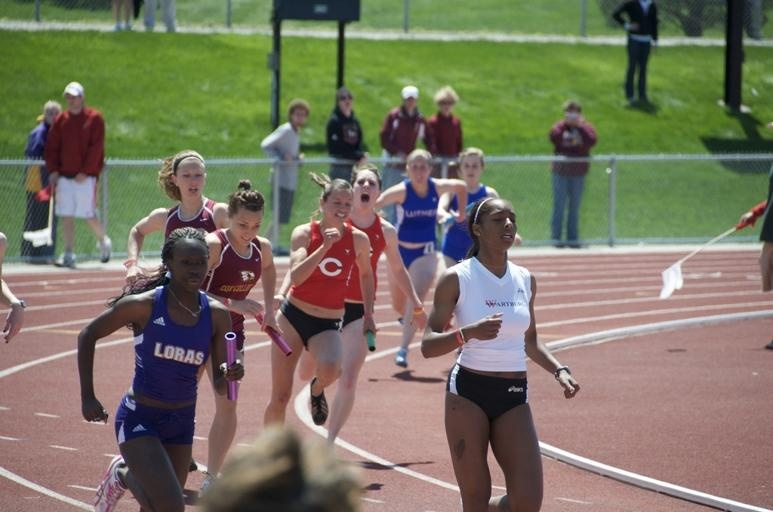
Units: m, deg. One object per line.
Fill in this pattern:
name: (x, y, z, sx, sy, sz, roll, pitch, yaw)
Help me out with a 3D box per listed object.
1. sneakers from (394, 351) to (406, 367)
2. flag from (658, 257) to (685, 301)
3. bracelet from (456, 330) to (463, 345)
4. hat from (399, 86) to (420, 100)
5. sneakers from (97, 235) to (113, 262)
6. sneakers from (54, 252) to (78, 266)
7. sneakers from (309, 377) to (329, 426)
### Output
sneakers: (0.163, 1.394, 13.509, 0.147, 0.221, 0.231, 2, 4, 10)
flag: (4.348, 0.426, 15.108, 0.258, 0.686, 0.898, 5, 14, 16)
bracelet: (0.658, 0.735, 8.889, 0.046, 0.111, 0.090, -18, 15, 4)
hat: (0.475, -3.204, 19.482, 0.276, 0.247, 0.231, -1, 14, -9)
sneakers: (-5.171, -0.139, 18.292, 0.195, 0.576, 0.244, 0, 17, 2)
sneakers: (-5.833, 0.070, 18.059, 0.504, 0.228, 0.195, 4, 3, 39)
sneakers: (-0.749, 1.625, 10.926, 0.198, 0.551, 0.216, -5, 16, -3)
